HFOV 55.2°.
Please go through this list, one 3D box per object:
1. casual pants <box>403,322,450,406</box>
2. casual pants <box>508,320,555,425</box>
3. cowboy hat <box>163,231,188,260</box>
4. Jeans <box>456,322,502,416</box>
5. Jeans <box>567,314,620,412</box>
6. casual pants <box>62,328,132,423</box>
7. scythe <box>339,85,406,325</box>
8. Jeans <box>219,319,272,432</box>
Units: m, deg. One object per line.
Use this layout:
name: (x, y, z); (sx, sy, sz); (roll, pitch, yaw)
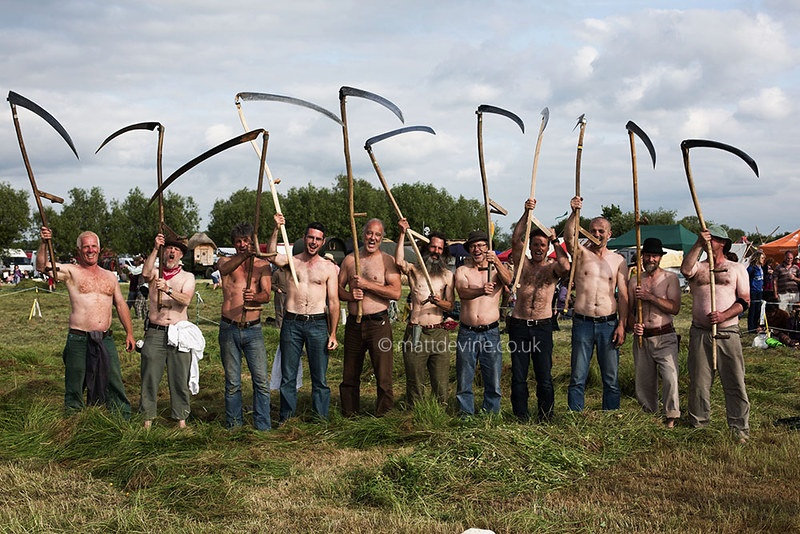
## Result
casual pants: (0.403, 1.401, 11.208); (0.657, 1.165, 0.439); (-3, -2, 1)
casual pants: (1.921, 1.454, 11.168); (0.640, 1.473, 0.407); (-3, -3, 11)
cowboy hat: (-3.209, -0.312, 11.057); (0.338, 0.097, 0.330); (17, -32, -31)
Jeans: (1.130, 1.452, 11.118); (0.672, 1.295, 0.489); (-3, -2, 3)
Jeans: (2.833, 1.363, 11.190); (0.819, 1.407, 0.557); (-3, -2, 6)
casual pants: (-4.294, 1.469, 10.847); (0.840, 1.237, 0.473); (-2, -3, -23)
scythe: (-0.414, -1.182, 11.060); (0.934, 2.760, 0.171); (-4, 4, -18)
Jeans: (-2.216, 1.526, 11.042); (0.781, 1.564, 0.565); (-4, -3, 18)
